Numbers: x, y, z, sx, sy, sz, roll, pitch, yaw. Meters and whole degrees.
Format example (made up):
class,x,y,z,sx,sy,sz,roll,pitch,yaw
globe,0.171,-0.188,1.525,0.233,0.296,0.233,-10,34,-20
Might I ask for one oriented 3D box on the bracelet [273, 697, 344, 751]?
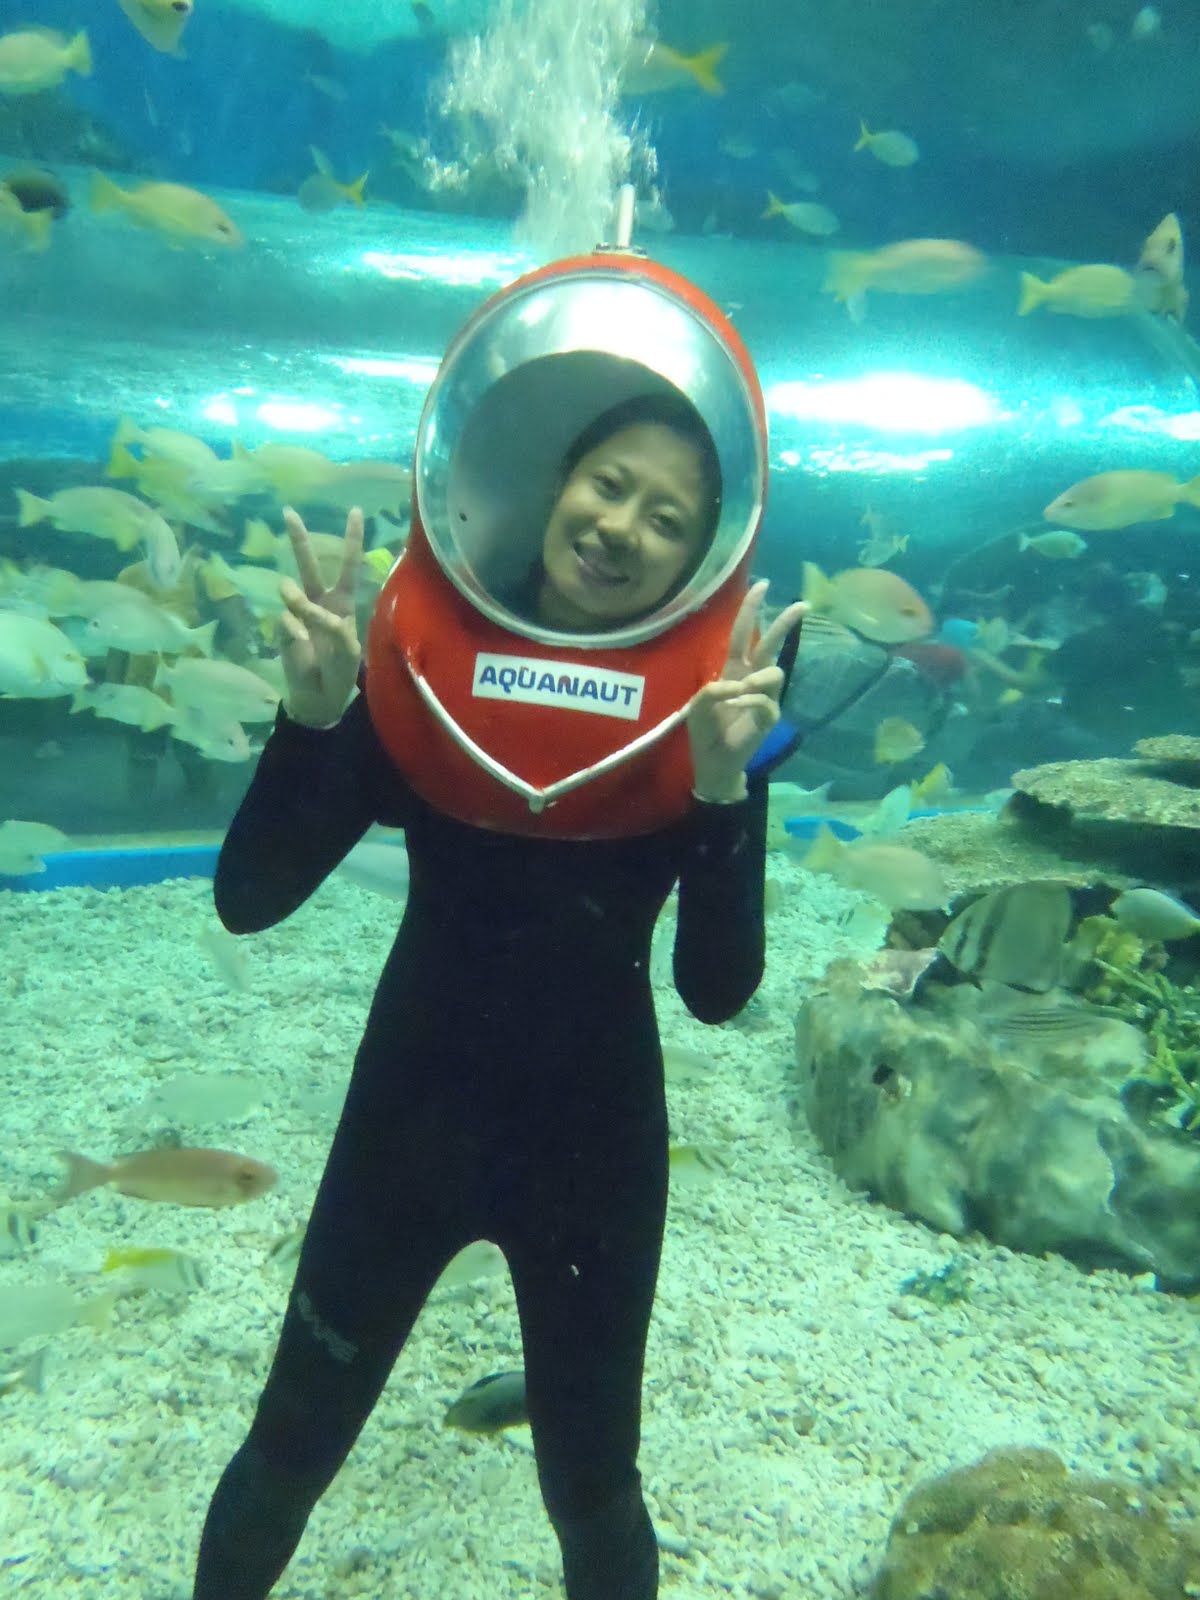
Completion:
class,x,y,z,sx,sy,sz,roll,pitch,yaw
bracelet,-0.569,-0.146,2.824,0.092,0.090,0.098,15,8,22
